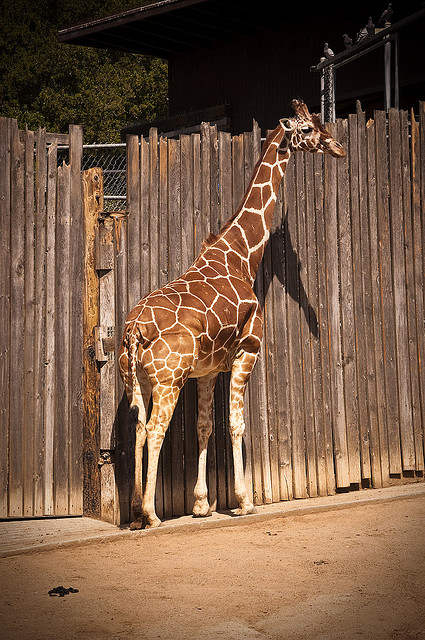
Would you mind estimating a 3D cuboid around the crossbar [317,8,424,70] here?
[{"bbox_3d":[1.409,-2.473,7.868,0.944,0.525,0.799,-1,1,8],"label":"crossbar"}]

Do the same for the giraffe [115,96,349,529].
[{"bbox_3d":[0.019,-0.105,5.724,0.616,2.735,1.508,0,0,44],"label":"giraffe"}]

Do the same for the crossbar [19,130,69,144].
[{"bbox_3d":[-1.115,-1.195,5.806,0.323,0.088,0.131,-1,1,-19],"label":"crossbar"}]
